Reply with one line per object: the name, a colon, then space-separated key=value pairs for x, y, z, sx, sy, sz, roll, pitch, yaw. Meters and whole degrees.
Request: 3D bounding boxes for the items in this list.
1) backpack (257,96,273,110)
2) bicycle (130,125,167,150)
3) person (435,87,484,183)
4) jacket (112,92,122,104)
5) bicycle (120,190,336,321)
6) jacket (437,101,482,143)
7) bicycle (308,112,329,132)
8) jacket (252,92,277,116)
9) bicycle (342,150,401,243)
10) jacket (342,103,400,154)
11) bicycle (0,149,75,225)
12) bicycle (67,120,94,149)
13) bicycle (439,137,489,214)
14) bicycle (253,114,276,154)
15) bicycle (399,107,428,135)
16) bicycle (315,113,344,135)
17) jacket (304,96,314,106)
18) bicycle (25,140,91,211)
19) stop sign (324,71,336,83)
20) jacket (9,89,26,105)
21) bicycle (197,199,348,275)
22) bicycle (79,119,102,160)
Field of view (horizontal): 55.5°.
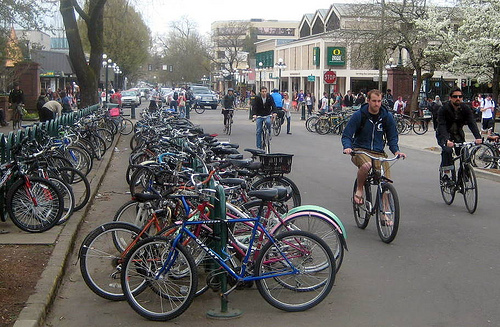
backpack: x=0.524 y=-2.244 z=17.848 sx=0.523 sy=0.791 sz=0.412 roll=1 pitch=7 yaw=5
bicycle: x=-3.481 y=-0.970 z=16.595 sx=1.439 sy=0.954 sz=0.920 roll=0 pitch=0 yaw=-23
person: x=4.278 y=-0.546 z=9.890 sx=0.843 sy=2.043 sz=1.095 roll=4 pitch=9 yaw=21
jacket: x=-11.739 y=-5.870 z=42.210 sx=0.674 sy=1.062 sz=0.356 roll=4 pitch=-3 yaw=-5
bicycle: x=-0.247 y=1.037 z=5.836 sx=2.377 sy=1.522 sz=1.247 roll=0 pitch=1 yaw=-7
jacket: x=4.244 y=-0.823 z=9.854 sx=0.611 sy=0.844 sz=1.118 roll=-1 pitch=9 yaw=-2
bicycle: x=3.709 y=-2.399 z=27.673 sx=0.785 sy=0.686 sz=1.305 roll=-21 pitch=-18 yaw=34
jacket: x=0.526 y=-2.127 z=17.995 sx=1.057 sy=1.080 sz=0.734 roll=-2 pitch=1 yaw=-14
bicycle: x=2.077 y=0.520 z=7.898 sx=0.606 sy=1.451 sz=1.373 roll=-1 pitch=9 yaw=-12
jacket: x=2.076 y=-0.602 z=8.106 sx=0.951 sy=0.867 sz=0.606 roll=6 pitch=2 yaw=7
bicycle: x=-3.534 y=0.443 z=8.264 sx=1.440 sy=1.050 sz=0.881 roll=0 pitch=4 yaw=0
bicycle: x=-5.107 y=-0.894 z=14.120 sx=0.699 sy=0.474 sz=0.457 roll=4 pitch=14 yaw=30
bicycle: x=4.335 y=0.255 z=9.825 sx=0.472 sy=1.405 sz=1.123 roll=1 pitch=8 yaw=1
bicycle: x=0.507 y=-1.058 z=17.272 sx=0.730 sy=1.391 sz=1.196 roll=1 pitch=8 yaw=5
bicycle: x=10.021 y=-2.392 z=28.100 sx=2.198 sy=1.485 sz=1.144 roll=5 pitch=3 yaw=11
bicycle: x=4.406 y=-2.119 z=26.648 sx=1.514 sy=1.031 sz=0.812 roll=-4 pitch=9 yaw=-8
jacket: x=5.568 y=-5.808 z=43.852 sx=1.010 sy=0.814 sz=1.422 roll=-1 pitch=-4 yaw=6
bicycle: x=-3.478 y=0.257 z=9.345 sx=1.415 sy=0.954 sz=0.787 roll=-1 pitch=11 yaw=7
stop sign: x=6.449 y=-7.065 z=38.861 sx=1.192 sy=0.913 sz=0.498 roll=-7 pitch=11 yaw=-41
jacket: x=-12.632 y=-3.624 z=25.915 sx=0.684 sy=0.785 sz=1.216 roll=-4 pitch=10 yaw=-32
bicycle: x=0.306 y=0.949 z=5.920 sx=1.730 sy=1.171 sz=0.901 roll=12 pitch=1 yaw=5
bicycle: x=-4.953 y=-0.650 z=15.113 sx=0.573 sy=0.759 sz=1.154 roll=-24 pitch=12 yaw=-26
